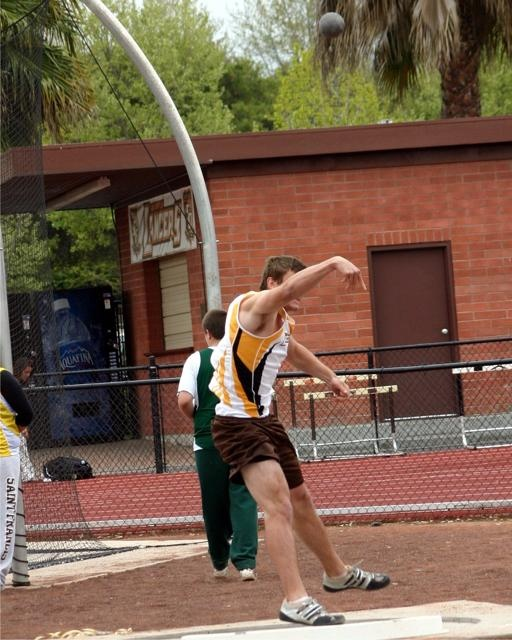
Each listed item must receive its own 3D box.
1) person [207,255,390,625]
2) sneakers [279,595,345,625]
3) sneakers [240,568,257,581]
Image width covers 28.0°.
[{"bbox_3d":[0.198,0.696,5.279,0.820,2.044,1.210,-5,10,-1],"label":"person"},{"bbox_3d":[0.257,1.392,4.920,0.325,0.126,0.126,4,-6,-2],"label":"sneakers"},{"bbox_3d":[-0.050,1.631,6.559,0.053,0.057,0.127,1,-1,4],"label":"sneakers"}]
